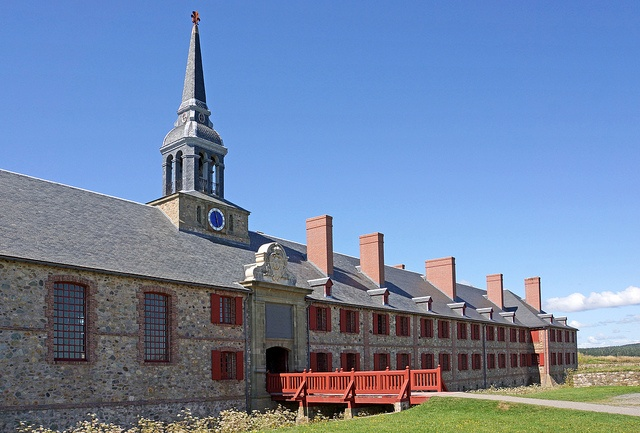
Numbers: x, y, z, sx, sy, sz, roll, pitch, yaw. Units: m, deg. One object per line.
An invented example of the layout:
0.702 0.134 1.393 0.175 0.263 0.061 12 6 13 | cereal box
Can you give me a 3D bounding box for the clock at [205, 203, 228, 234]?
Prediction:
-7.576 0.209 53.112 0.167 2.157 2.274 -23 -17 32 | clock
